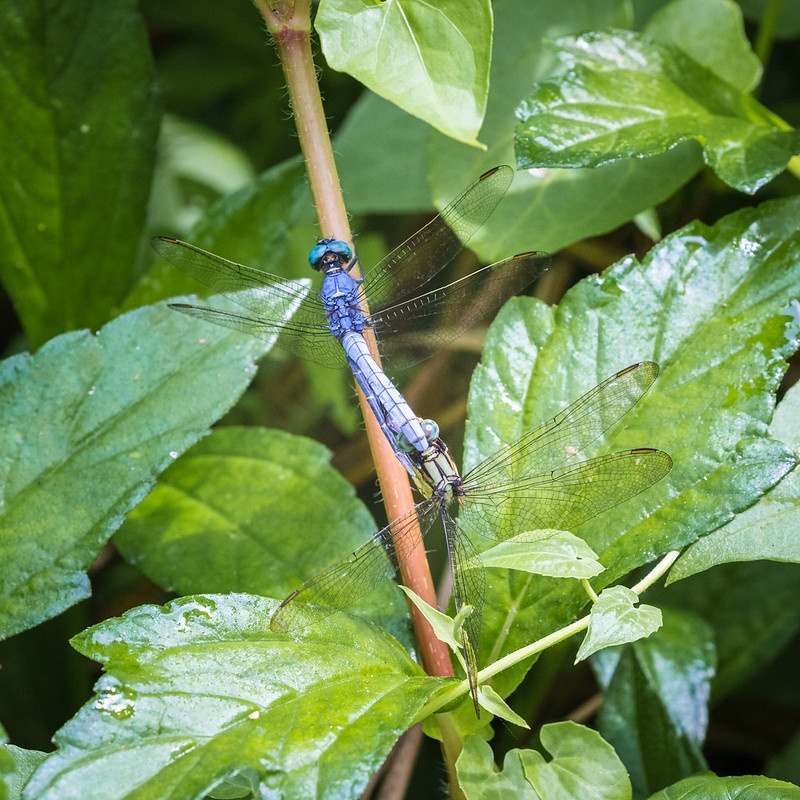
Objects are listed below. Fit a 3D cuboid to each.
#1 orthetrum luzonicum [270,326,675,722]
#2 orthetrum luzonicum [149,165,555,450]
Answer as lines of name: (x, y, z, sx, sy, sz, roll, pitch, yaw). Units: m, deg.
orthetrum luzonicum: (0.169, 0.169, 1.107, 0.457, 0.128, 0.388, -29, 67, 1)
orthetrum luzonicum: (-0.030, -0.144, 1.452, 0.603, 0.389, 0.258, -13, 33, 4)
